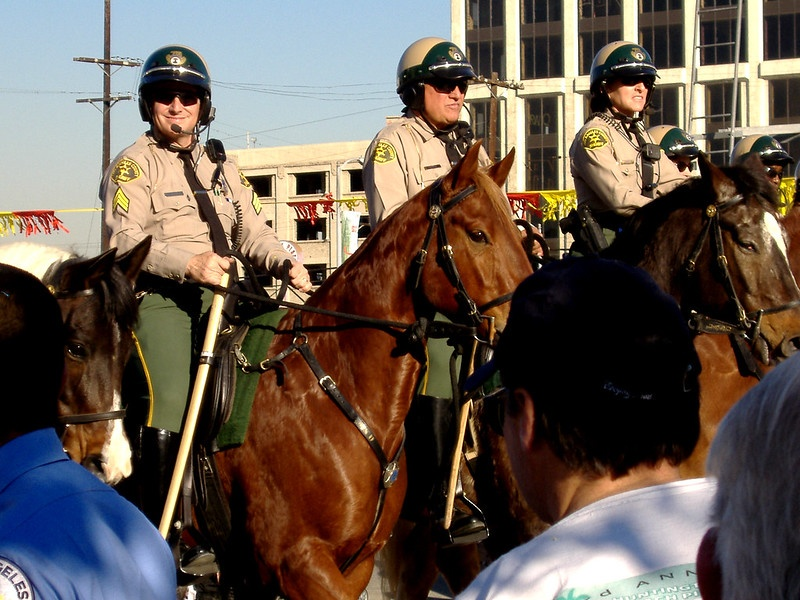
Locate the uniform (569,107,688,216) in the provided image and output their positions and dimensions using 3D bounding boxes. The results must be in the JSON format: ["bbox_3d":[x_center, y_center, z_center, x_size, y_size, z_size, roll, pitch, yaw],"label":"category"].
[{"bbox_3d":[1.536,-0.860,9.711,0.800,0.958,0.676,1,2,-40],"label":"uniform"}]

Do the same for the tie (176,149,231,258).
[{"bbox_3d":[-1.205,-0.569,8.738,0.129,0.913,0.096,-17,2,-24],"label":"tie"}]

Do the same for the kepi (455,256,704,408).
[{"bbox_3d":[0.622,0.112,4.723,0.576,0.317,0.438,2,-7,16],"label":"kepi"}]

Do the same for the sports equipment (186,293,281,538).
[{"bbox_3d":[-0.854,0.536,7.780,0.312,0.970,0.692,14,-5,-28],"label":"sports equipment"}]

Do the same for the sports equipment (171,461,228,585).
[{"bbox_3d":[-1.066,1.245,7.785,0.160,0.606,0.418,2,7,-32],"label":"sports equipment"}]

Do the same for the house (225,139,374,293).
[{"bbox_3d":[-3.023,-2.708,62.839,6.305,6.318,3.791,0,0,22],"label":"house"}]

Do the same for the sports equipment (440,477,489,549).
[{"bbox_3d":[0.381,1.263,8.313,0.218,0.347,0.210,-14,15,-17],"label":"sports equipment"}]

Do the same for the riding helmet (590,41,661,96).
[{"bbox_3d":[1.555,-1.655,9.892,0.423,0.305,0.582,-2,5,-18],"label":"riding helmet"}]

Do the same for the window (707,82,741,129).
[{"bbox_3d":[11.589,-7.020,51.504,1.239,1.692,2.047,-3,5,13],"label":"window"}]
